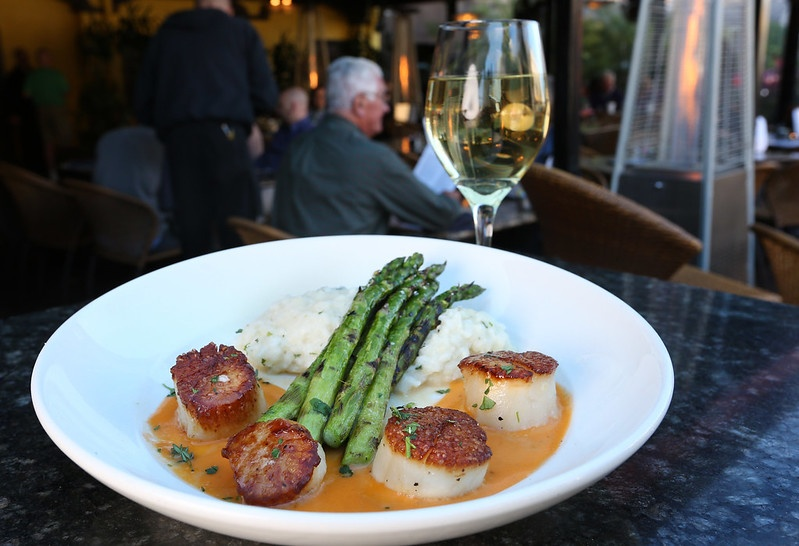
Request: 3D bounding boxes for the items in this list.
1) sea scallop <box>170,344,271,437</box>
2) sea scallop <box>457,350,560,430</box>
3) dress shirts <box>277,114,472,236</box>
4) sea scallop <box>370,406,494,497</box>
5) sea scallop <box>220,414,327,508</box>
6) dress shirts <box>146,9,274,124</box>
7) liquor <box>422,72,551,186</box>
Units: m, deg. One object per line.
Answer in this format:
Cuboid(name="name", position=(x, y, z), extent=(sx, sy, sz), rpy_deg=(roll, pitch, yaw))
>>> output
Cuboid(name="sea scallop", position=(-0.406, 0.252, 1.456), extent=(0.145, 0.070, 0.200), rpy_deg=(-8, 34, -19))
Cuboid(name="sea scallop", position=(0.245, 0.256, 1.494), extent=(0.165, 0.107, 0.170), rpy_deg=(-2, 10, 0))
Cuboid(name="dress shirts", position=(-0.200, -0.537, 3.888), extent=(0.881, 0.780, 0.517), rpy_deg=(-6, 19, 27))
Cuboid(name="sea scallop", position=(0.063, 0.351, 1.324), extent=(0.235, 0.095, 0.187), rpy_deg=(2, 26, 9))
Cuboid(name="sea scallop", position=(-0.245, 0.356, 1.261), extent=(0.145, 0.045, 0.147), rpy_deg=(-12, 41, -17))
Cuboid(name="dress shirts", position=(-1.302, -1.340, 4.395), extent=(0.277, 0.784, 1.010), rpy_deg=(15, 31, 33))
Cuboid(name="liquor", position=(0.181, -0.364, 1.718), extent=(0.258, 0.393, 0.265), rpy_deg=(-2, 10, -4))
